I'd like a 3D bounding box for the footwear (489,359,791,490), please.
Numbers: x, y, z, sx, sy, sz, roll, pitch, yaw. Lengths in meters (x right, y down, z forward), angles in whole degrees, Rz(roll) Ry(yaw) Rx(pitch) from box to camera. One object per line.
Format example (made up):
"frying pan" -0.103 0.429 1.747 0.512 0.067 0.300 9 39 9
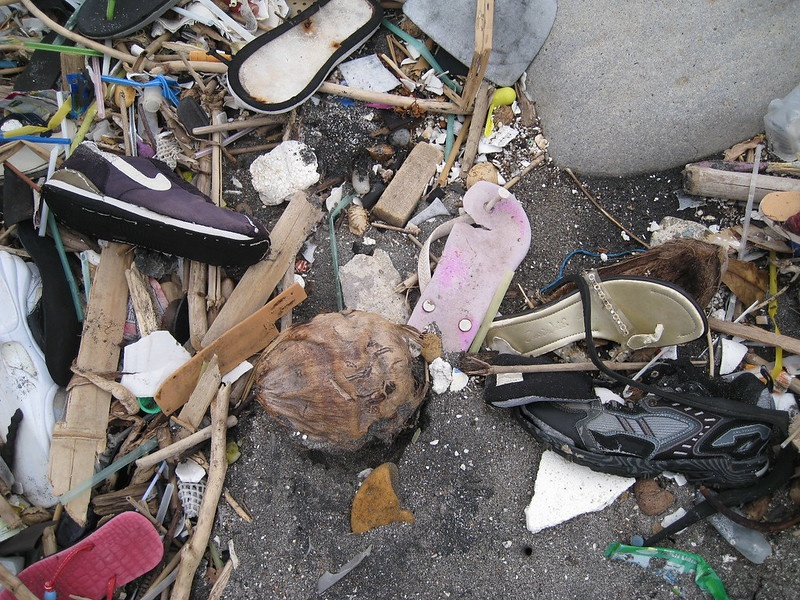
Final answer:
"footwear" 1.315 0.718 3.759 1.653 0.535 0.302 9 -19 -1

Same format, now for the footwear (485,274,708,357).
"footwear" 1.071 0.103 3.807 1.167 0.491 0.270 -7 17 20
